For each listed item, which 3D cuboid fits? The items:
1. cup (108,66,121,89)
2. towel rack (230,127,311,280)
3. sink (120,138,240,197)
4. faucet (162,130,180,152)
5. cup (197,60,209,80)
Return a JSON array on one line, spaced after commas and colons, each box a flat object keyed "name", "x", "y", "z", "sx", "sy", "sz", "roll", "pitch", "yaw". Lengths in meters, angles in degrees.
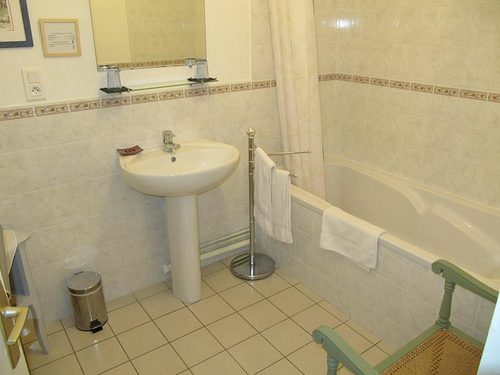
[{"name": "cup", "x": -0.840, "y": -0.668, "z": 2.302, "sx": 0.079, "sy": 0.127, "sz": 0.068, "roll": -11, "pitch": 26, "yaw": -16}, {"name": "towel rack", "x": 0.005, "y": 0.413, "z": 3.051, "sx": 0.389, "sy": 1.672, "sz": 0.891, "roll": -9, "pitch": 22, "yaw": -21}, {"name": "sink", "x": -0.447, "y": -0.116, "z": 2.487, "sx": 0.760, "sy": 0.233, "sz": 0.588, "roll": -15, "pitch": 28, "yaw": -24}, {"name": "faucet", "x": -0.555, "y": -0.334, "z": 2.588, "sx": 0.111, "sy": 0.140, "sz": 0.185, "roll": -9, "pitch": 26, "yaw": -12}, {"name": "cup", "x": -0.329, "y": -0.800, "z": 2.586, "sx": 0.086, "sy": 0.116, "sz": 0.116, "roll": 18, "pitch": 32, "yaw": 29}]
